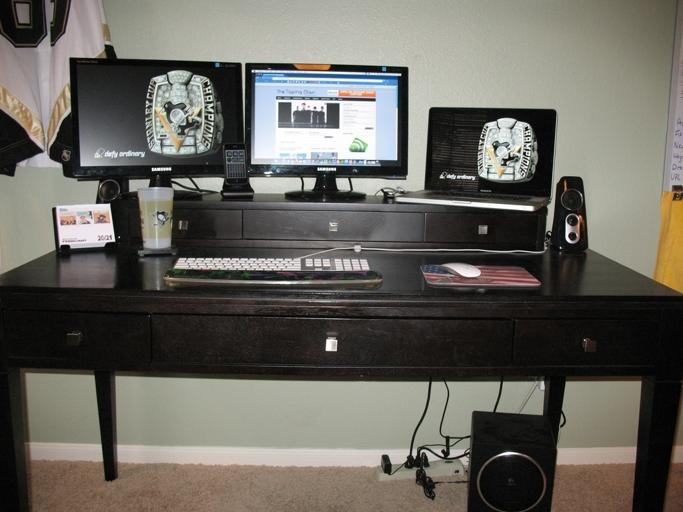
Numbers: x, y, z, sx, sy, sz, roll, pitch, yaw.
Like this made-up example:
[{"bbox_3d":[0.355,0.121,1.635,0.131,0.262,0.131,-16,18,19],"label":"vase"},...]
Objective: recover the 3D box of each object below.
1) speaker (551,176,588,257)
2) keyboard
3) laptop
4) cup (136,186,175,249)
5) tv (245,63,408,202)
[{"bbox_3d":[0.844,-0.155,2.277,0.112,0.280,0.147,2,-7,6],"label":"speaker"},{"bbox_3d":[-0.200,0.057,1.895,0.645,0.058,0.265,1,14,-9],"label":"keyboard"},{"bbox_3d":[0.554,-0.373,2.263,0.534,0.423,0.375,3,4,14],"label":"laptop"},{"bbox_3d":[-0.614,-0.134,2.043,0.118,0.202,0.136,3,7,21],"label":"cup"},{"bbox_3d":[-0.054,-0.448,2.257,0.593,0.519,0.226,0,-4,-5],"label":"tv"}]
